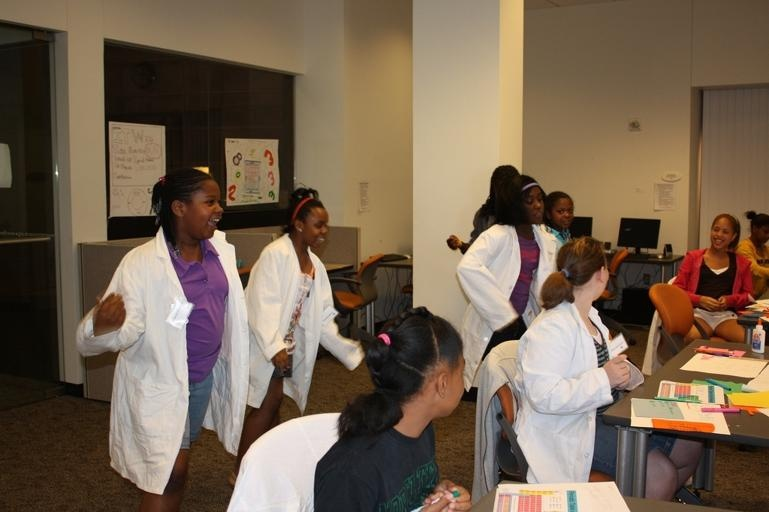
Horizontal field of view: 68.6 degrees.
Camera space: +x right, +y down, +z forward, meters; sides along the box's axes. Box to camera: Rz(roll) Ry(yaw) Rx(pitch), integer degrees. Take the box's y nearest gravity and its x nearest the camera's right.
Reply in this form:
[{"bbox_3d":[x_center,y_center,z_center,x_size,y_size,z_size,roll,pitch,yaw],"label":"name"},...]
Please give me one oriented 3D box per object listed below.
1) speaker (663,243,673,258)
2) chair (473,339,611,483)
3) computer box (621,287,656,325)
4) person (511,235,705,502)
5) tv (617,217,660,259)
[{"bbox_3d":[4.099,-0.058,8.182,0.114,0.251,0.167,0,8,2],"label":"speaker"},{"bbox_3d":[0.948,0.922,3.557,0.572,1.106,0.674,6,10,21],"label":"chair"},{"bbox_3d":[3.504,0.711,7.803,0.404,0.517,0.473,9,12,19],"label":"computer box"},{"bbox_3d":[1.196,0.898,3.139,0.879,1.880,0.735,3,6,19],"label":"person"},{"bbox_3d":[3.750,-0.259,8.316,0.422,0.481,0.150,21,-5,23],"label":"tv"}]
